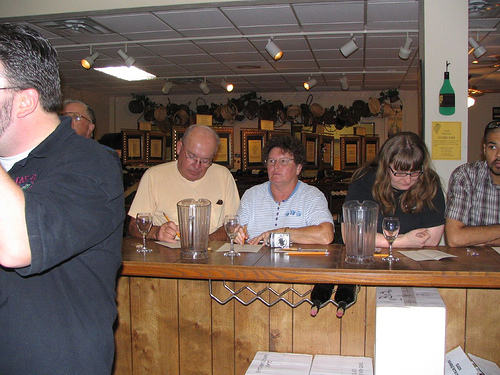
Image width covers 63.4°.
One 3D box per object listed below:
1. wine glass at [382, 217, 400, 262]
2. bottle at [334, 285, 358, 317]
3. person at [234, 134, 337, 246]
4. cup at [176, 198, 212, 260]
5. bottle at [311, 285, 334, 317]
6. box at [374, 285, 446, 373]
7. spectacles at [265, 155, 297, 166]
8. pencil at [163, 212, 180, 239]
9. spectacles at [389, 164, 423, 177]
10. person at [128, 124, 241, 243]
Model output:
[{"bbox_3d":[0.652,0.233,1.875,0.069,0.189,0.227,0,0,19],"label":"wine glass"},{"bbox_3d":[0.416,0.490,1.764,0.102,0.083,0.284,0,0,14],"label":"bottle"},{"bbox_3d":[0.249,-0.009,2.646,0.536,0.709,0.669,0,0,-17],"label":"person"},{"bbox_3d":[-0.277,0.205,1.972,0.173,0.262,0.171,-2,8,0],"label":"cup"},{"bbox_3d":[0.307,0.490,1.793,0.093,0.081,0.265,0,0,20],"label":"bottle"},{"bbox_3d":[0.687,0.586,1.747,0.274,0.362,0.277,0,0,18],"label":"box"},{"bbox_3d":[0.194,-0.175,2.728,0.191,0.054,0.080,0,0,37],"label":"spectacles"},{"bbox_3d":[-0.477,0.236,2.480,0.018,0.236,0.018,-41,-5,29],"label":"pencil"},{"bbox_3d":[0.928,-0.101,2.403,0.191,0.071,0.075,0,0,15],"label":"spectacles"},{"bbox_3d":[-0.444,0.143,2.983,0.819,1.120,0.649,3,9,-20],"label":"person"}]
